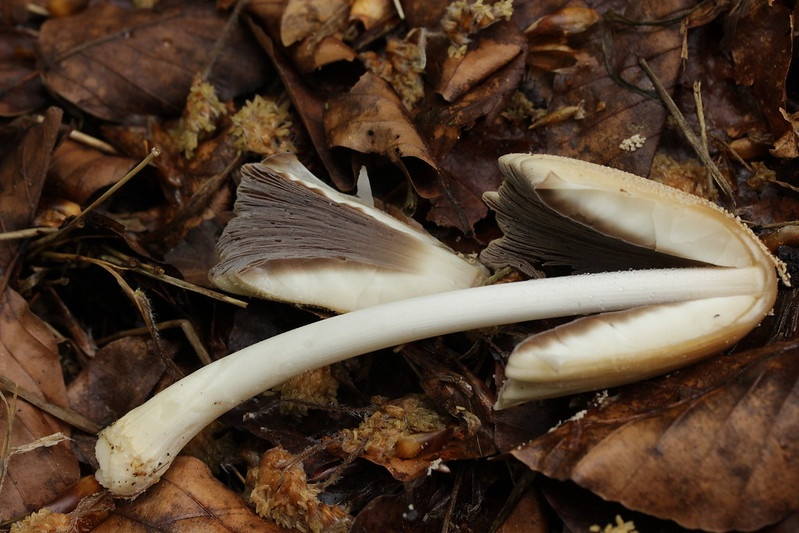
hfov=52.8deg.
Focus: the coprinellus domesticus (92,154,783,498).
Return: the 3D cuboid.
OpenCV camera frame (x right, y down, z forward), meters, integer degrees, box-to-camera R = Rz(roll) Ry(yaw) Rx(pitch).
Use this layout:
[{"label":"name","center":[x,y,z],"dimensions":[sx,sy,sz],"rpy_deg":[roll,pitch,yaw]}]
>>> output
[{"label":"coprinellus domesticus","center":[0.262,0.104,3.249],"dimensions":[2.553,1.003,0.828],"rpy_deg":[-4,43,-6]}]
